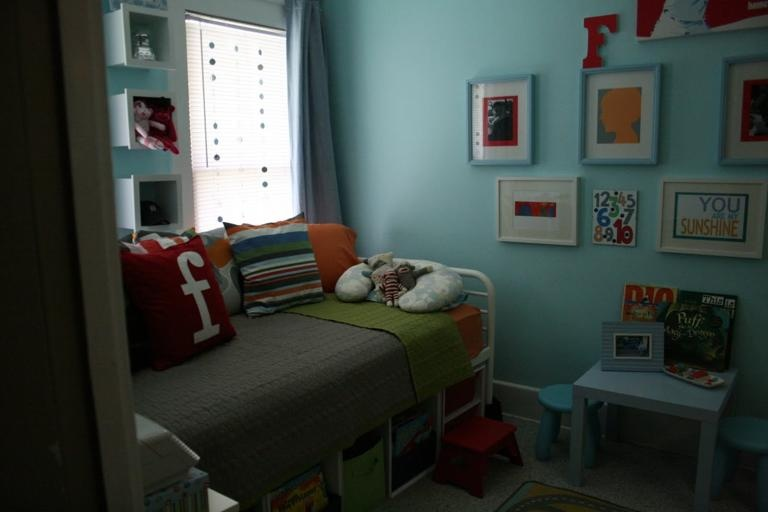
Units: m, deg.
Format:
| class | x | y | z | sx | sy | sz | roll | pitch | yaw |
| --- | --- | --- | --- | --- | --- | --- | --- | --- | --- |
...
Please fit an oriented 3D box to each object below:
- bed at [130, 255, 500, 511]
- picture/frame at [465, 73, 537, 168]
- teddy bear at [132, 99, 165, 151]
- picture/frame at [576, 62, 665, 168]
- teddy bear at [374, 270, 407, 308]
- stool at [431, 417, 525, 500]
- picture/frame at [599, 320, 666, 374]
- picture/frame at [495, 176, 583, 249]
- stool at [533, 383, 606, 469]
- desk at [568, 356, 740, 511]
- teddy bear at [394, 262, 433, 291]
| class | x | y | z | sx | sy | sz | roll | pitch | yaw |
| --- | --- | --- | --- | --- | --- | --- | --- | --- | --- |
| bed | -0.340 | 0.552 | 2.146 | 0.535 | 0.410 | 1.208 | 6 | 14 | 38 |
| picture/frame | 0.624 | -0.731 | 2.952 | 0.498 | 0.582 | 0.047 | 4 | 10 | 36 |
| teddy bear | -1.039 | -0.580 | 2.458 | 0.168 | 0.175 | 0.140 | 5 | 24 | -21 |
| picture/frame | 1.128 | -0.682 | 2.654 | 0.507 | 0.612 | 0.042 | 4 | 8 | 39 |
| teddy bear | 0.037 | 0.151 | 2.753 | 0.122 | 0.182 | 0.072 | -17 | -30 | -10 |
| stool | 0.413 | 0.843 | 2.537 | 0.286 | 0.231 | 0.363 | 1 | 4 | 34 |
| picture/frame | 1.135 | 0.421 | 2.566 | 0.236 | 0.203 | 0.024 | 1 | -16 | 11 |
| picture/frame | 0.815 | -0.235 | 2.907 | 0.380 | 0.309 | 0.032 | 4 | 6 | 34 |
| stool | 0.847 | 0.741 | 2.749 | 0.369 | 0.369 | 0.350 | 6 | 12 | 38 |
| desk | 1.132 | 0.624 | 2.361 | 0.583 | 0.437 | 0.570 | 2 | 5 | 33 |
| teddy bear | 0.125 | 0.100 | 2.804 | 0.139 | 0.054 | 0.150 | 0 | 38 | 17 |
